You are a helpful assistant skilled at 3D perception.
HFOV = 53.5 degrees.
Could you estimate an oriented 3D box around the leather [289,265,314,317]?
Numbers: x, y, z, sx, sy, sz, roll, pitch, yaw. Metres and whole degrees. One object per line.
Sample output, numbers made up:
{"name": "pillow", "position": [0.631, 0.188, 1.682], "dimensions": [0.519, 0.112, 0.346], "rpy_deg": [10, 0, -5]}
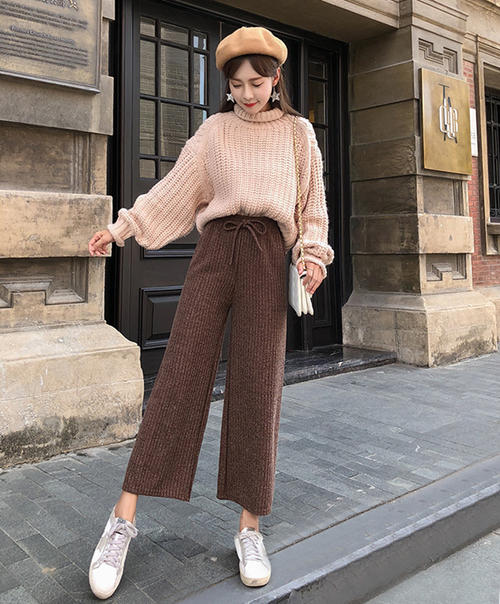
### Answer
{"name": "leather", "position": [0.169, -0.030, 1.527], "dimensions": [0.055, 0.175, 0.068], "rpy_deg": [2, -28, -19]}

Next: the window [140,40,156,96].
{"name": "window", "position": [-0.826, -1.878, 3.932], "dimensions": [0.122, 0.289, 0.024], "rpy_deg": [0, 23, -14]}

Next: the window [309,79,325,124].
{"name": "window", "position": [0.691, -2.190, 5.388], "dimensions": [0.039, 0.488, 0.206], "rpy_deg": [0, 10, -23]}

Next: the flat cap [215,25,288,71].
{"name": "flat cap", "position": [0.014, -0.732, 1.436], "dimensions": [0.163, 0.072, 0.144], "rpy_deg": [-8, -5, 30]}

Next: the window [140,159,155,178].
{"name": "window", "position": [-0.828, -1.072, 3.974], "dimensions": [0.016, 0.161, 0.167], "rpy_deg": [-1, 0, 39]}

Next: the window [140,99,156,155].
{"name": "window", "position": [-0.827, -1.403, 3.946], "dimensions": [0.021, 0.404, 0.177], "rpy_deg": [19, 28, 31]}

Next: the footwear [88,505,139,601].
{"name": "footwear", "position": [-0.383, 0.706, 1.402], "dimensions": [0.071, 0.089, 0.218], "rpy_deg": [21, 21, -9]}

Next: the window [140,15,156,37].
{"name": "window", "position": [-0.814, -2.178, 3.907], "dimensions": [0.027, 0.154, 0.205], "rpy_deg": [-2, 0, 31]}
